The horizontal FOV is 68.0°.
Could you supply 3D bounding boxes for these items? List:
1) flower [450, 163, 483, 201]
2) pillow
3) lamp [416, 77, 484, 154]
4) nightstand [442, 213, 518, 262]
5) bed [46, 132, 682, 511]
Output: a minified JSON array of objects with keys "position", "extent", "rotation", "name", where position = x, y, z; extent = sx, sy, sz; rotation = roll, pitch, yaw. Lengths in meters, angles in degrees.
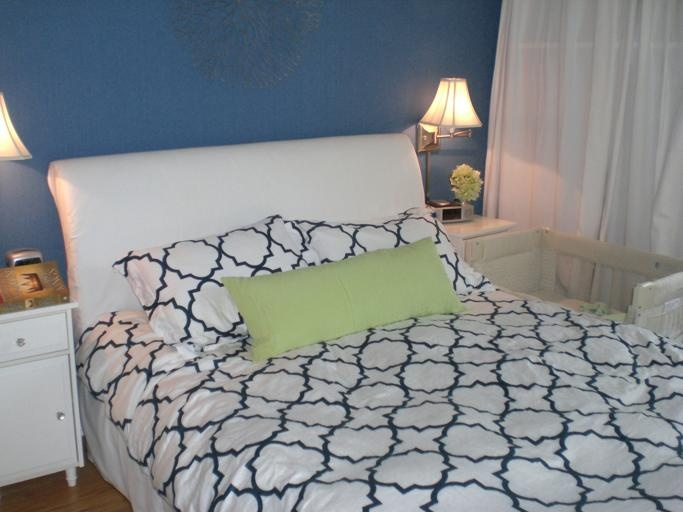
[{"position":[0.845,-0.516,3.493],"extent":[0.217,0.233,0.210],"rotation":[-30,23,-13],"name":"flower"},{"position":[-0.364,0.062,2.513],"extent":[1.326,0.491,0.418],"rotation":[-15,12,-30],"name":"pillow"},{"position":[0.710,-0.904,3.355],"extent":[0.382,0.495,0.383],"rotation":[-18,30,-32],"name":"lamp"},{"position":[0.873,-0.180,3.259],"extent":[0.413,0.406,0.280],"rotation":[-18,28,-36],"name":"nightstand"},{"position":[0.010,0.250,2.180],"extent":[1.398,0.753,1.378],"rotation":[-15,26,-33],"name":"bed"}]
